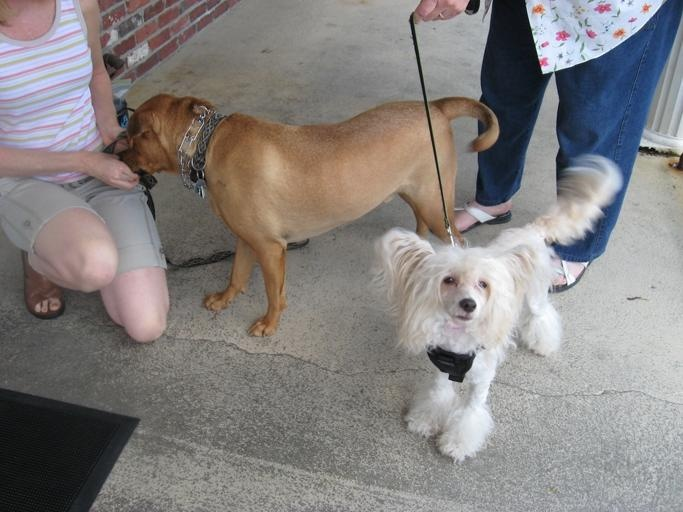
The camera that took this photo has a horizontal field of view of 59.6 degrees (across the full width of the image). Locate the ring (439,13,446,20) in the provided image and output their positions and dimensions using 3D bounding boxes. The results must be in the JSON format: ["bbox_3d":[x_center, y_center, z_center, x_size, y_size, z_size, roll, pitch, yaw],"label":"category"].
[{"bbox_3d":[0.409,-0.980,2.432,0.005,0.019,0.020,4,37,44],"label":"ring"}]

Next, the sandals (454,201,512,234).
[{"bbox_3d":[0.776,-0.212,3.296,0.323,0.091,0.149,-3,39,5],"label":"sandals"}]

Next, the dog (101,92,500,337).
[{"bbox_3d":[-0.133,-0.233,2.720,1.755,1.001,0.512,-9,31,-8],"label":"dog"}]

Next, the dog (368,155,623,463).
[{"bbox_3d":[0.737,0.087,2.689,0.574,0.931,1.490,21,42,35],"label":"dog"}]

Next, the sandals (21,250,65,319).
[{"bbox_3d":[-1.415,0.183,2.880,0.130,0.395,0.148,-16,-2,-27],"label":"sandals"}]
